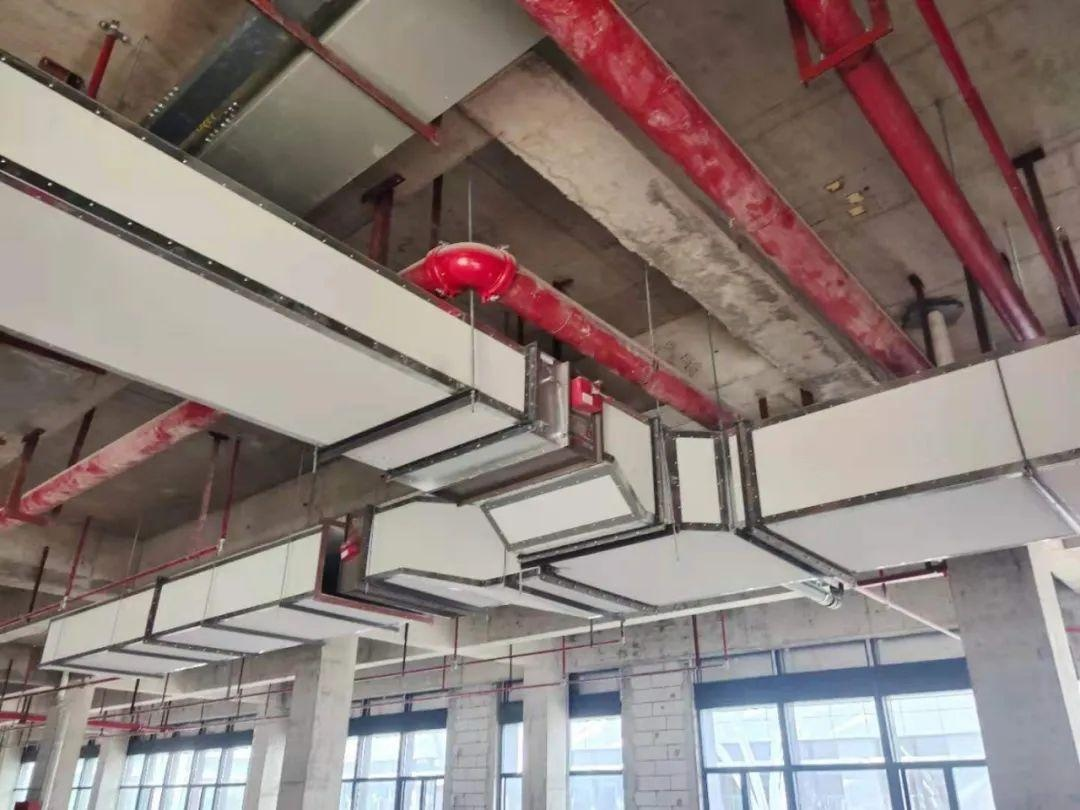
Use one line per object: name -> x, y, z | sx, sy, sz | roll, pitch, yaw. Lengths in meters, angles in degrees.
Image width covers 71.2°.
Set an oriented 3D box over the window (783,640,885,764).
window -> 3.801, 3.834, 9.597 | 1.424, 1.351, 0.475 | -15, -23, 35
